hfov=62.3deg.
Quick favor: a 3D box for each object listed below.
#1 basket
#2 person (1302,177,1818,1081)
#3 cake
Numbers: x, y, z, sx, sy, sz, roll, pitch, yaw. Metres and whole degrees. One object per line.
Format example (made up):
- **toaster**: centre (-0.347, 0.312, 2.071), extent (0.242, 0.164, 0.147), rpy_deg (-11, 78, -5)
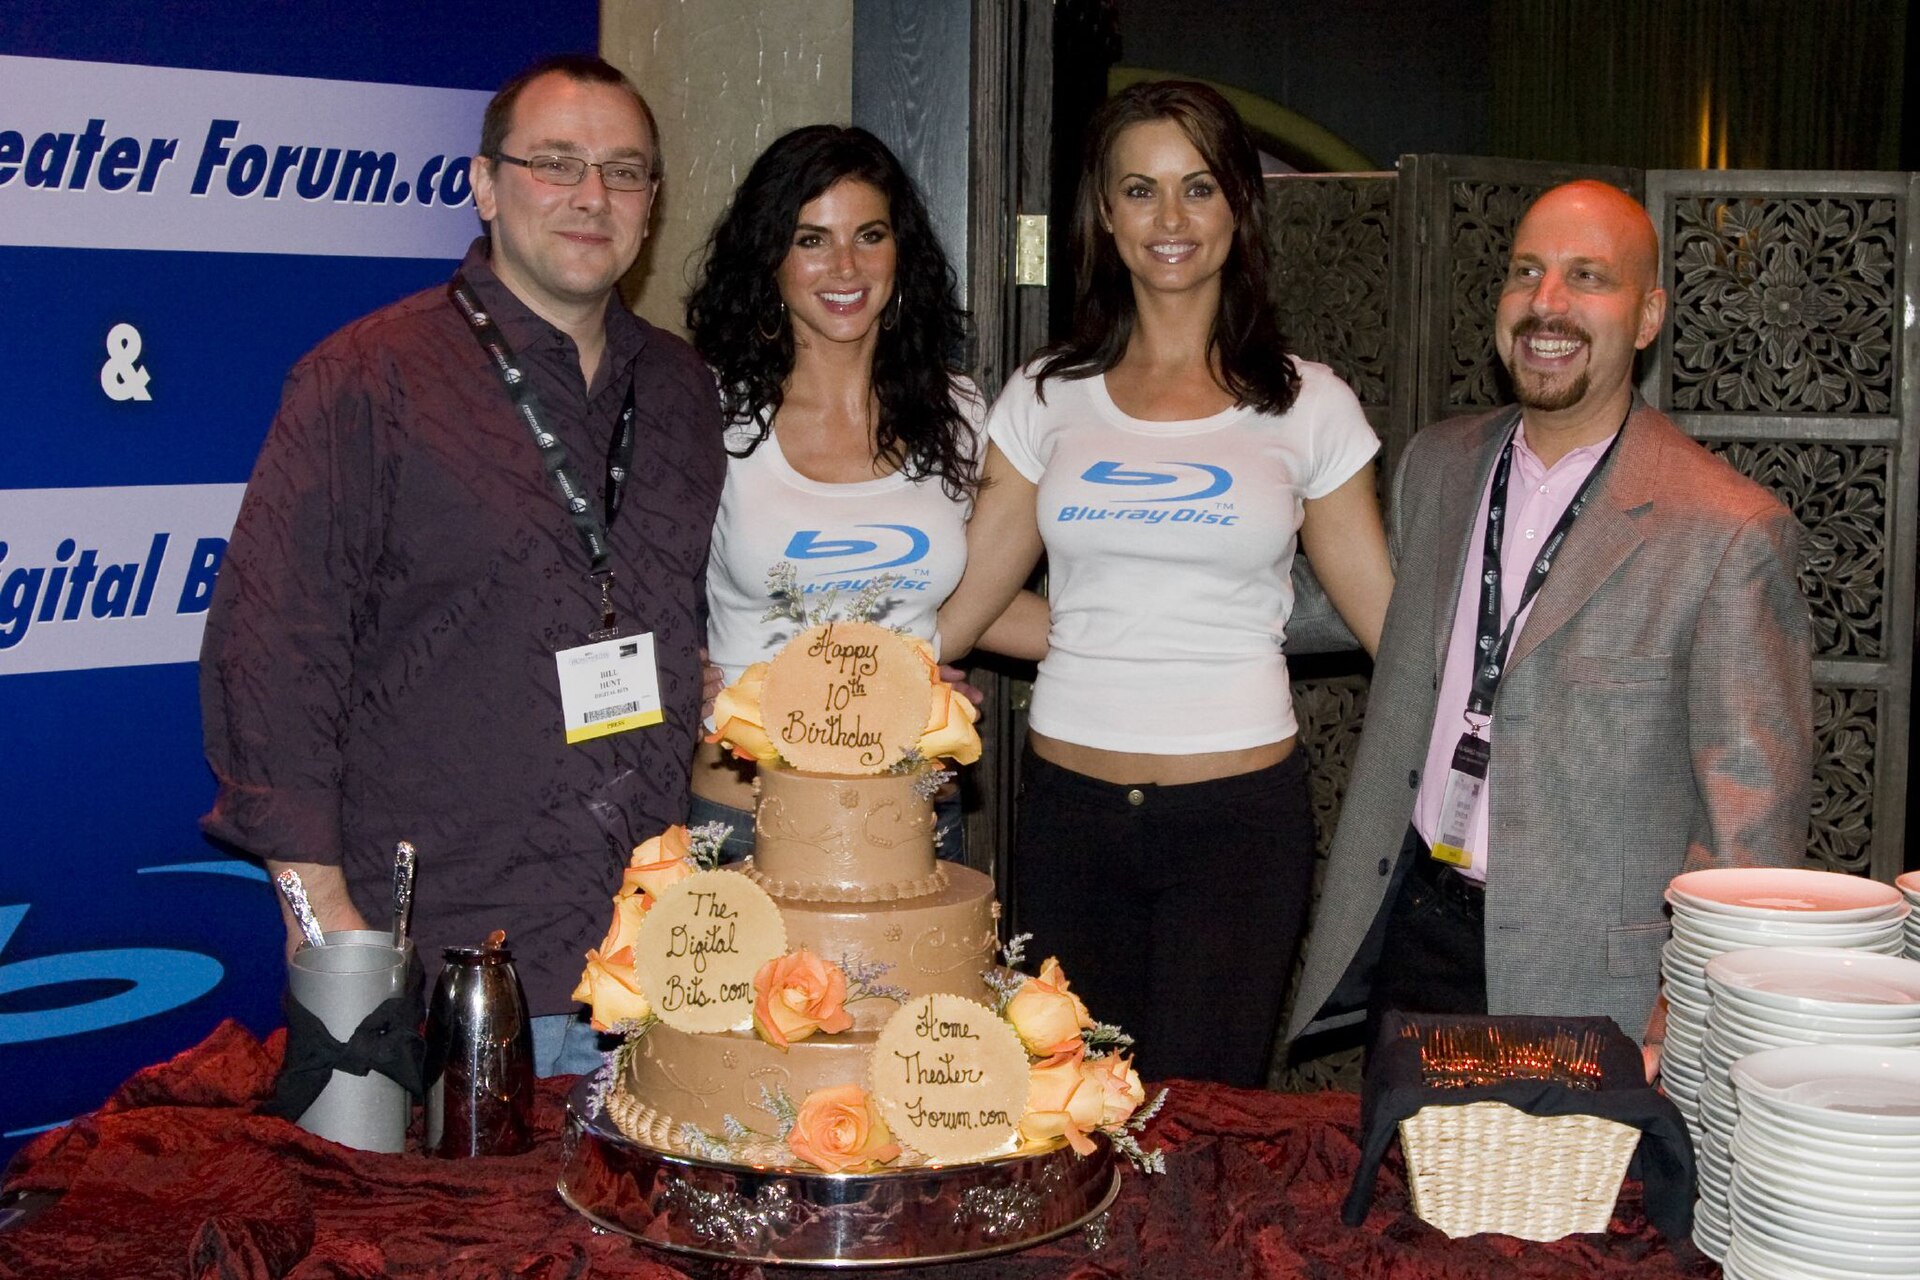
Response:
- **basket**: centre (0.828, 0.732, 2.452), extent (0.286, 0.204, 0.324), rpy_deg (0, -6, 6)
- **person**: centre (1.215, -0.044, 3.167), extent (0.905, 1.688, 0.606), rpy_deg (5, 14, 26)
- **cake**: centre (-0.208, 0.373, 2.579), extent (0.806, 0.617, 0.760), rpy_deg (2, 0, -7)
